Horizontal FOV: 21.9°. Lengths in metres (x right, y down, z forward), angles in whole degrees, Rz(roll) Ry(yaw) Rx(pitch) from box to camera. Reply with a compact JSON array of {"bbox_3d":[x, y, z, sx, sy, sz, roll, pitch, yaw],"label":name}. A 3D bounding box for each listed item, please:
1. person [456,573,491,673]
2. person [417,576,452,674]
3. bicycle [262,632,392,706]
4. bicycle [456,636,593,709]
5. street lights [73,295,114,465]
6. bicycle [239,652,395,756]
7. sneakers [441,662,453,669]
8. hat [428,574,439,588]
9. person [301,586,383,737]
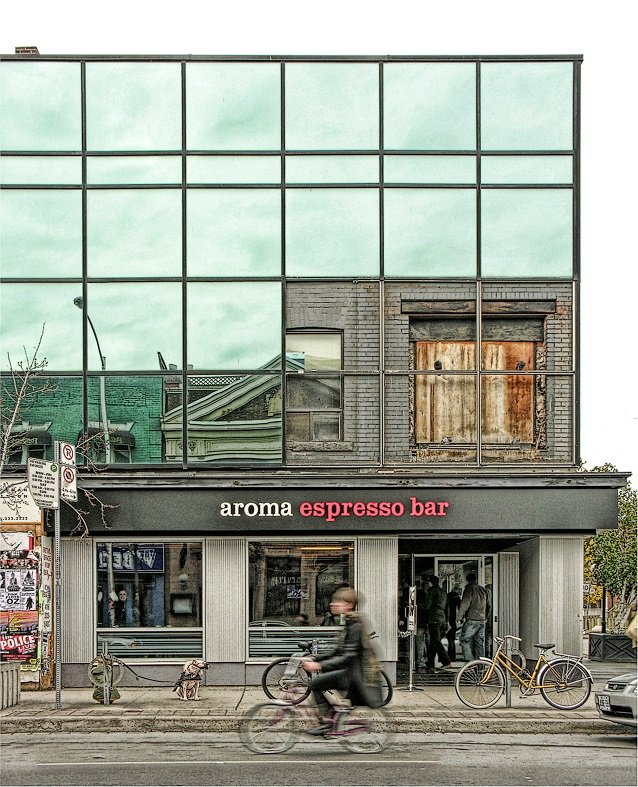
[{"bbox_3d":[2.603,3.844,27.949,0.710,1.559,0.733,-1,-12,26],"label":"person"},{"bbox_3d":[2.003,3.941,28.322,0.508,1.659,1.004,-2,-10,5],"label":"person"},{"bbox_3d":[0.119,3.925,23.743,2.129,1.423,1.107,2,-15,4],"label":"bicycle"},{"bbox_3d":[2.976,4.026,23.746,1.889,1.066,1.006,-2,-10,1],"label":"bicycle"},{"bbox_3d":[-3.713,-0.238,26.959,0.561,2.732,0.191,0,-10,-10],"label":"street lights"},{"bbox_3d":[-0.014,3.864,20.240,1.944,1.277,0.991,1,-17,-2],"label":"bicycle"},{"bbox_3d":[2.228,4.705,28.463,0.237,0.168,0.081,4,-8,-5],"label":"sneakers"},{"bbox_3d":[2.002,3.228,28.420,0.136,0.188,0.183,1,-19,0],"label":"hat"},{"bbox_3d":[0.296,3.200,19.749,0.885,1.713,0.410,-1,-9,1],"label":"person"}]
